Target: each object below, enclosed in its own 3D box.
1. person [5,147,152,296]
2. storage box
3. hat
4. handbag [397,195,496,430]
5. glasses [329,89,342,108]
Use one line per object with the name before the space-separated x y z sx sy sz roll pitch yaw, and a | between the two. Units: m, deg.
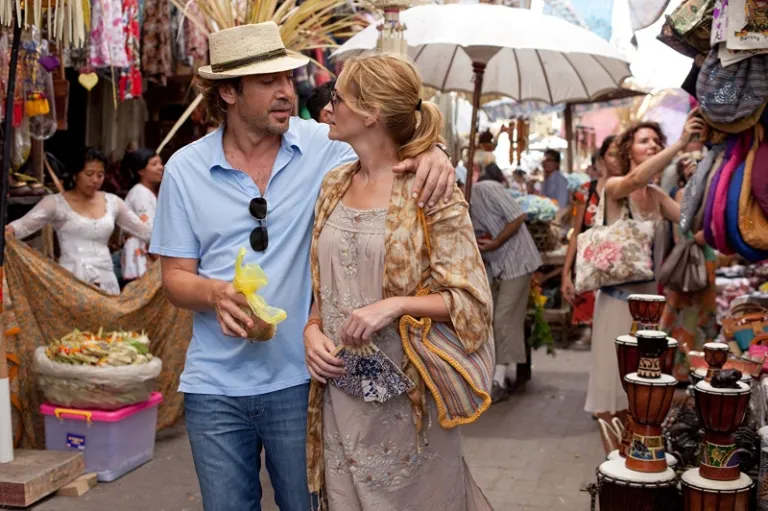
person | -2.922 -0.286 6.941 1.443 1.915 0.610 -2 -9 -40
storage box | -2.305 1.456 6.041 0.556 0.525 0.803 1 1 25
hat | -0.698 -1.034 3.750 0.388 0.148 0.364 -10 11 5
handbag | 0.345 0.279 3.527 0.324 0.988 0.625 -1 14 35
glasses | -0.239 -0.774 3.597 0.057 0.080 0.019 1 6 37
